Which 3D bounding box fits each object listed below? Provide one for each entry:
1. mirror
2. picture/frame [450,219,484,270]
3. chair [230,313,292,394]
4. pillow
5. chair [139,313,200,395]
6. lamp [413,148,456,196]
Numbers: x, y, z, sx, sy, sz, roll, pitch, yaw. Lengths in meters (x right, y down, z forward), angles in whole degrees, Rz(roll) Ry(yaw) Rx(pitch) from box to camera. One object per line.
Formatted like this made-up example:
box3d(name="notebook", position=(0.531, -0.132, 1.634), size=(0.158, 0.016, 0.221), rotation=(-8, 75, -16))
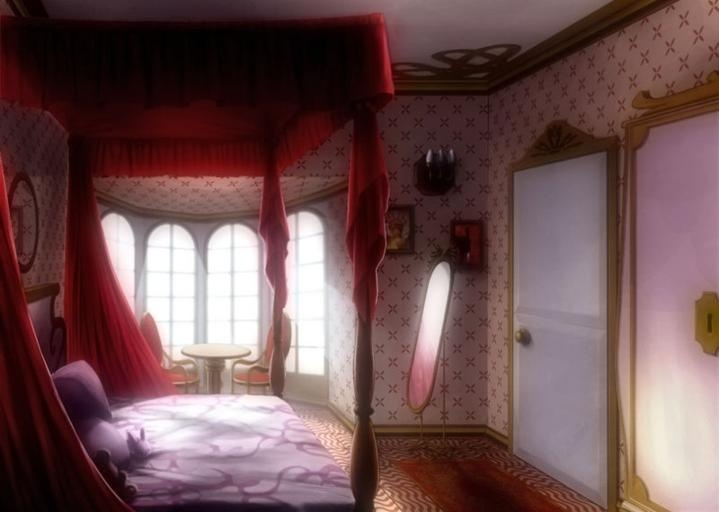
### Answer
box3d(name="mirror", position=(0.698, 0.973, 5.533), size=(0.422, 1.832, 0.628), rotation=(2, 10, 5))
box3d(name="picture/frame", position=(1.127, -0.136, 5.808), size=(0.354, 0.563, 0.039), rotation=(1, 29, 12))
box3d(name="chair", position=(-1.221, 1.307, 6.739), size=(0.590, 1.033, 0.570), rotation=(3, 1, -20))
box3d(name="pillow", position=(-1.862, 1.155, 3.917), size=(0.252, 0.686, 0.640), rotation=(-23, 3, -4))
box3d(name="chair", position=(-2.332, 1.385, 6.943), size=(0.688, 1.252, 0.721), rotation=(-1, 4, 11))
box3d(name="lamp", position=(0.785, -0.865, 5.744), size=(0.371, 0.508, 0.107), rotation=(3, 4, 12))
